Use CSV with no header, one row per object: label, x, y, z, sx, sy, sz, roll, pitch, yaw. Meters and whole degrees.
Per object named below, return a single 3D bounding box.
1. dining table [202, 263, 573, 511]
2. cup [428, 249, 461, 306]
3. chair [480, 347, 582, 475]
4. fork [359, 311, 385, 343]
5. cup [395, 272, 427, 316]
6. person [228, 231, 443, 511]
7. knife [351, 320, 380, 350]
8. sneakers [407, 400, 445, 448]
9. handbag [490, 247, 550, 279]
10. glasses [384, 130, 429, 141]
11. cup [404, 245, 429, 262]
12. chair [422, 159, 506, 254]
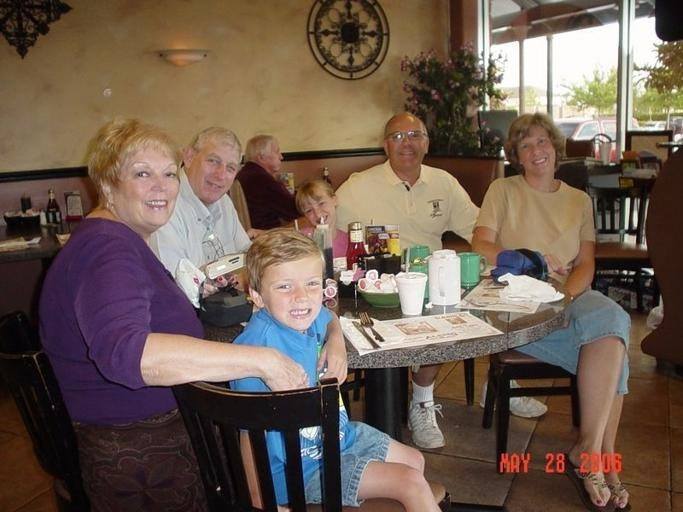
dining table,0.371,0.365,2.359,1.099,0.789,1.119,-4,15,-8
cup,0.396,0.088,2.055,0.120,0.202,0.202,2,15,15
chair,0.892,0.643,2.850,0.505,0.647,0.670,-2,8,-8
fork,0.108,0.240,1.889,0.034,0.024,0.199,-11,26,-4
cup,0.262,0.136,2.051,0.136,0.165,0.145,-2,7,0
person,0.014,0.315,2.018,0.866,1.097,0.576,1,6,23
knife,0.080,0.268,1.884,0.030,0.029,0.249,-15,23,-11
sneakers,0.447,0.893,2.909,0.121,0.139,0.290,-1,4,-15
handbag,0.766,0.016,2.280,0.183,0.070,0.128,-4,7,-32
glasses,0.403,-0.748,3.314,0.250,0.063,0.118,-5,8,6
cup,0.333,-0.013,2.336,0.084,0.059,0.062,2,5,41
chair,1.156,-0.534,5.146,0.745,1.112,0.830,5,14,17
